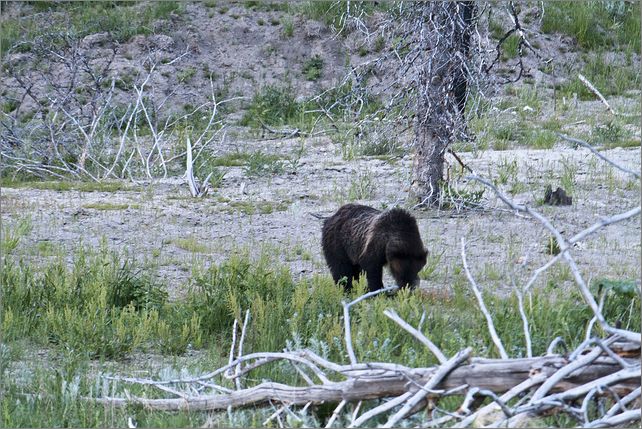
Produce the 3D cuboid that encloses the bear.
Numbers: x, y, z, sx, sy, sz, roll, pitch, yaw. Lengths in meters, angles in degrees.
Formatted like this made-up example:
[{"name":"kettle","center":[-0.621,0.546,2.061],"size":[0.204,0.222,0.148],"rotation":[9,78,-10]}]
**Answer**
[{"name":"bear","center":[1.160,0.823,24.713],"size":[2.440,2.098,1.180],"rotation":[7,12,45]}]
